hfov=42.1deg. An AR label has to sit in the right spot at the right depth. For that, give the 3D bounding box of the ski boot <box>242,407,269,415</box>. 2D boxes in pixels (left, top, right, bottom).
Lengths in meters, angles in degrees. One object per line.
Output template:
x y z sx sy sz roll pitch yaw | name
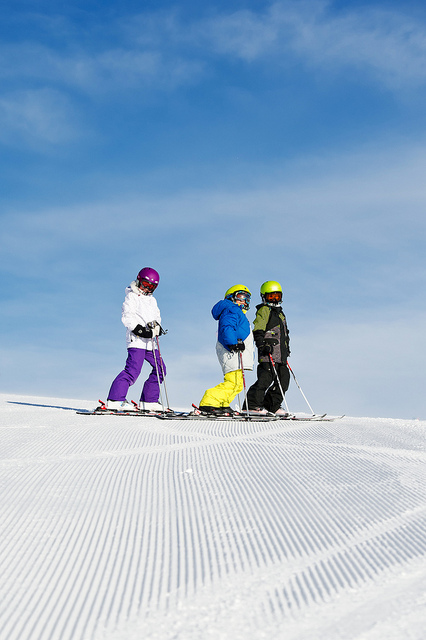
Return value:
0.604 1.345 8.159 0.440 0.181 0.144 -1 -3 -2 | ski boot

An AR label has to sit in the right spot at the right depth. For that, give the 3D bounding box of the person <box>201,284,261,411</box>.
0.296 0.371 8.033 0.661 1.805 0.923 1 -3 15 | person

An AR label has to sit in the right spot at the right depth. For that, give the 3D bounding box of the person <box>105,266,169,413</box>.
-1.079 0.277 8.184 0.899 2.094 0.597 3 -3 -15 | person

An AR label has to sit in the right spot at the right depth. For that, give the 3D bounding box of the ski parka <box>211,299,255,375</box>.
0.290 0.262 7.577 0.472 1.004 0.708 -8 -23 1 | ski parka
